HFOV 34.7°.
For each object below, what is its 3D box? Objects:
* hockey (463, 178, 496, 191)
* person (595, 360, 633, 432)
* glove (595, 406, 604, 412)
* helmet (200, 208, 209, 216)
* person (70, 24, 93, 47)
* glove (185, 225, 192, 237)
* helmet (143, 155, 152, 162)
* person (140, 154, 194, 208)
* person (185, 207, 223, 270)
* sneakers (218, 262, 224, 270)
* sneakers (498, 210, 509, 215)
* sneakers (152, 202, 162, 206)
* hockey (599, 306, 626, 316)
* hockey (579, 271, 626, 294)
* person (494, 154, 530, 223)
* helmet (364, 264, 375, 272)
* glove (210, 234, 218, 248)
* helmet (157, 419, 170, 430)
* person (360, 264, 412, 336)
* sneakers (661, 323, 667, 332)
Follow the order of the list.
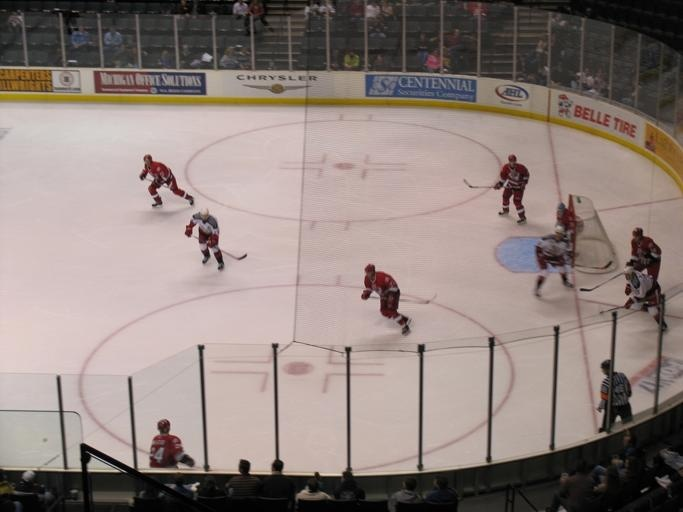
[{"bbox_3d":[3.061,-1.625,24.634,0.774,0.289,0.473,-1,3,25],"label":"hockey"},{"bbox_3d":[4.058,2.071,16.213,0.502,1.032,0.327,-3,4,12],"label":"person"},{"bbox_3d":[3.833,2.269,16.192,0.131,0.080,0.026,-1,-8,17],"label":"glove"},{"bbox_3d":[-2.645,-0.851,21.168,0.166,0.144,0.238,-3,2,-8],"label":"helmet"},{"bbox_3d":[-6.990,-5.892,29.254,0.811,0.347,0.773,1,-18,-13],"label":"person"},{"bbox_3d":[-3.040,-0.500,21.445,0.112,0.188,0.176,18,14,24],"label":"glove"},{"bbox_3d":[-4.148,-2.083,23.483,0.200,0.169,0.209,1,-28,-6],"label":"helmet"},{"bbox_3d":[-3.797,-1.631,23.823,1.053,1.116,0.835,-3,3,-5],"label":"person"},{"bbox_3d":[-2.663,-0.308,21.482,0.645,1.193,0.724,-2,3,20],"label":"person"},{"bbox_3d":[-2.353,0.214,21.465,0.120,0.118,0.140,1,2,-1],"label":"sneakers"},{"bbox_3d":[3.478,-0.928,23.287,0.206,0.103,0.076,8,39,13],"label":"sneakers"},{"bbox_3d":[-4.032,-1.125,23.912,0.193,0.084,0.081,13,26,4],"label":"sneakers"},{"bbox_3d":[4.852,0.953,19.408,0.439,0.090,0.393,-2,0,-30],"label":"hockey"},{"bbox_3d":[4.916,0.492,20.656,1.003,0.321,0.256,-3,3,-32],"label":"hockey"},{"bbox_3d":[3.621,-1.407,23.302,0.713,1.446,1.129,-3,3,7],"label":"person"},{"bbox_3d":[0.507,0.225,19.238,0.192,0.078,0.154,0,1,0],"label":"helmet"},{"bbox_3d":[-2.479,-0.279,21.333,0.157,0.237,0.184,-4,3,-11],"label":"glove"},{"bbox_3d":[-2.536,2.422,15.704,0.160,0.127,0.153,1,32,4],"label":"helmet"},{"bbox_3d":[0.796,0.762,19.524,0.813,1.241,0.718,-3,3,2],"label":"person"},{"bbox_3d":[4.886,1.085,16.546,0.080,0.147,0.066,17,27,42],"label":"sneakers"}]
